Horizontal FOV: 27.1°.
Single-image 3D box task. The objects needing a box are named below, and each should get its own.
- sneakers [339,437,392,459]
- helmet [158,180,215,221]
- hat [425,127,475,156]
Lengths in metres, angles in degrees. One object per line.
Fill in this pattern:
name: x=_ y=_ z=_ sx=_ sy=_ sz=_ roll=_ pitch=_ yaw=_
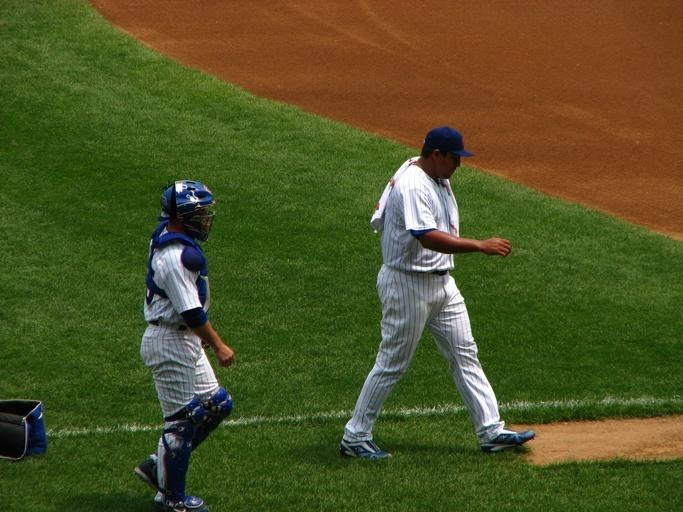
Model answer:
sneakers: x=0.265 y=2.240 z=16.576 sx=0.611 sy=0.243 sz=0.214 roll=1 pitch=-1 yaw=8
helmet: x=-1.710 y=-0.634 z=15.893 sx=0.548 sy=0.317 sz=0.377 roll=-6 pitch=12 yaw=-6
hat: x=1.239 y=-1.360 z=16.549 sx=0.493 sy=0.259 sz=0.329 roll=9 pitch=14 yaw=-2
